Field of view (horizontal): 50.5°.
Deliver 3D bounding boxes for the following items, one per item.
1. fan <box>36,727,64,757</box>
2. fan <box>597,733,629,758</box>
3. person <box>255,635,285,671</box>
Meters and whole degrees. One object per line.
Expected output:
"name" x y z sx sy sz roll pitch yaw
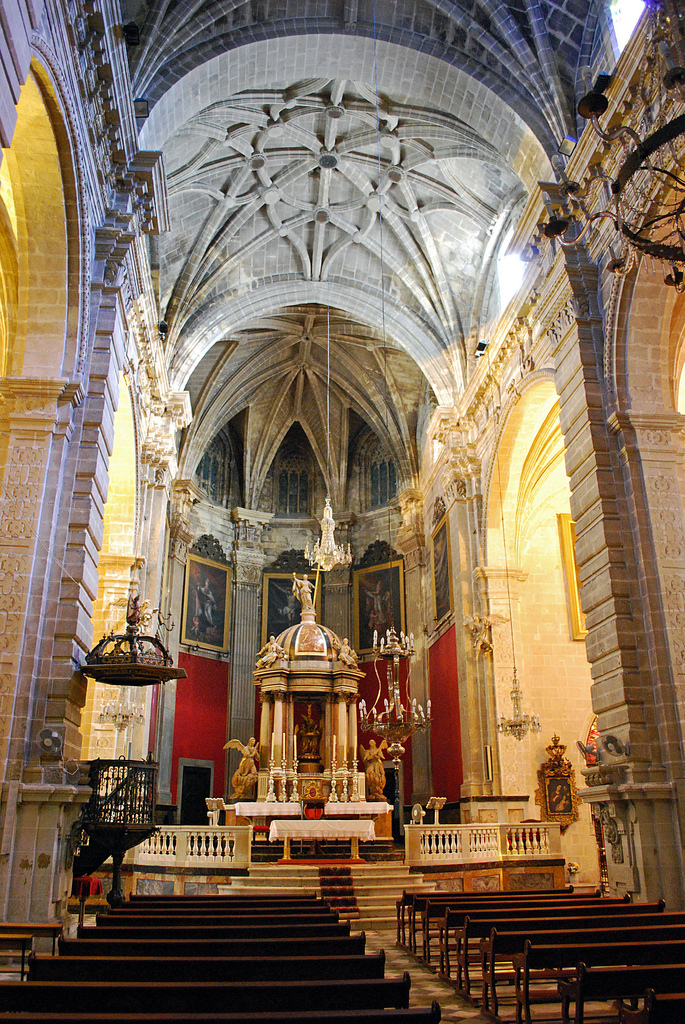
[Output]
"fan" -2.774 2.221 6.917 0.212 0.291 0.154 16 -27 -34
"fan" 3.142 2.728 8.414 0.331 0.158 0.467 -5 -8 4
"person" -1.706 3.399 17.219 0.665 0.805 0.697 3 -23 -9
